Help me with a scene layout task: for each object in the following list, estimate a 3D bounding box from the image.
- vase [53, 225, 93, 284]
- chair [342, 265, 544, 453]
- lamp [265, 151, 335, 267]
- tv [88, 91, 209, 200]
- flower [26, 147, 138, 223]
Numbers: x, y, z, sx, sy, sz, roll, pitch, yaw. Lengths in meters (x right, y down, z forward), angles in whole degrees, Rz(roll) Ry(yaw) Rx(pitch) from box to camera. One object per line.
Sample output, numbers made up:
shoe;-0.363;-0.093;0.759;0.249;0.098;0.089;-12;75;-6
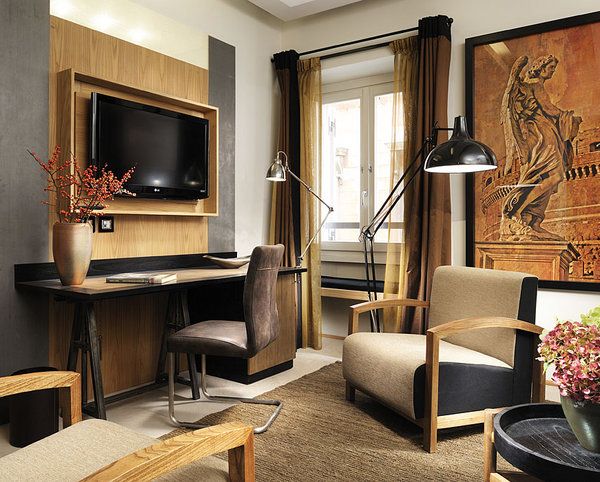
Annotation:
vase;-1.292;0.073;2.724;0.200;0.350;0.088;-3;6;-28
chair;0.900;0.585;3.048;1.015;1.006;0.981;2;-2;-24
lamp;-0.002;-0.294;4.253;0.616;1.079;1.092;1;5;3
tv;-1.085;-0.662;3.343;0.060;0.654;0.884;8;5;33
flower;-1.328;-0.323;2.925;0.485;0.340;0.487;8;-5;-29
